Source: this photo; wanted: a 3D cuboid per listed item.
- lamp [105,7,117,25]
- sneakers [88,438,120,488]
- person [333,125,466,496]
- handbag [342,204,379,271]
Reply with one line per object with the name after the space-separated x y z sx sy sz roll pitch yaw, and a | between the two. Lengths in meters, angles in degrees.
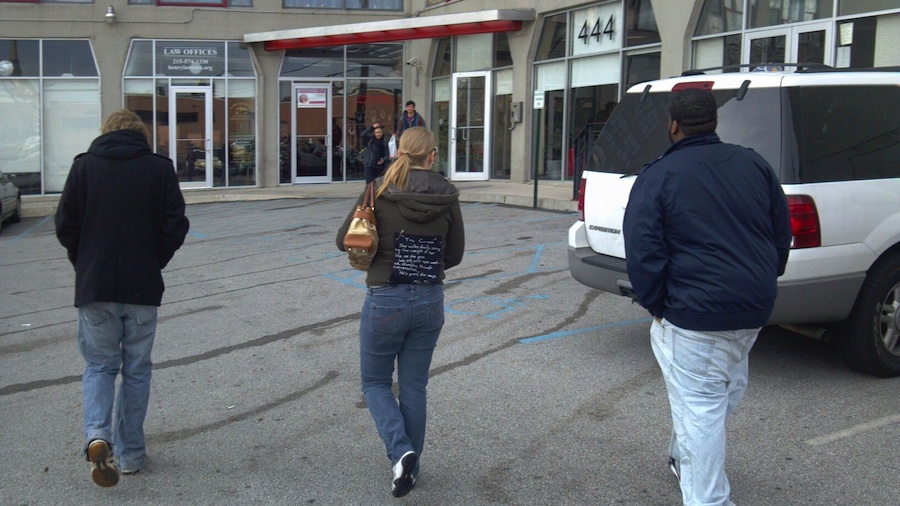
-11.954 -8.494 22.942 0.396 0.631 0.503 -11 18 -31 | lamp
-2.881 1.739 5.389 0.173 0.370 0.239 -12 19 -32 | sneakers
-0.452 0.469 5.561 0.770 2.984 1.134 7 18 27 | person
-0.744 -0.113 5.420 0.289 0.537 0.214 -4 16 -8 | handbag
